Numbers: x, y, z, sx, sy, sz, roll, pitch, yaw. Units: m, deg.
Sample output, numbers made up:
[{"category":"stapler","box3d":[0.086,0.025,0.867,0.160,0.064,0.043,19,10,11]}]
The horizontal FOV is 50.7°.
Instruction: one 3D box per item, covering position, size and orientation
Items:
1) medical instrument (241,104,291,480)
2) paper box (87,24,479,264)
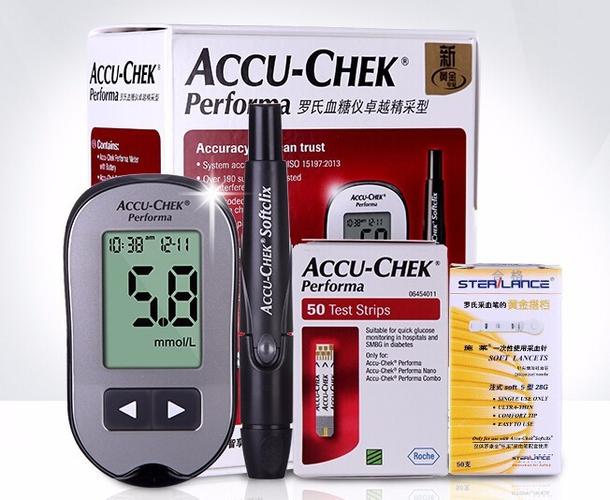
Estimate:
[{"category":"medical instrument","box3d":[-0.048,0.051,0.782,0.063,0.458,0.044,-1,3,-3]},{"category":"paper box","box3d":[0.056,-0.109,0.974,0.546,0.405,0.199,9,9,26]}]
